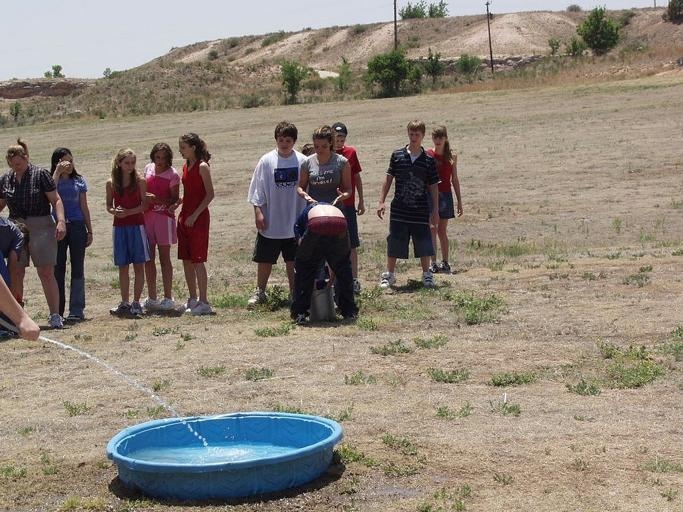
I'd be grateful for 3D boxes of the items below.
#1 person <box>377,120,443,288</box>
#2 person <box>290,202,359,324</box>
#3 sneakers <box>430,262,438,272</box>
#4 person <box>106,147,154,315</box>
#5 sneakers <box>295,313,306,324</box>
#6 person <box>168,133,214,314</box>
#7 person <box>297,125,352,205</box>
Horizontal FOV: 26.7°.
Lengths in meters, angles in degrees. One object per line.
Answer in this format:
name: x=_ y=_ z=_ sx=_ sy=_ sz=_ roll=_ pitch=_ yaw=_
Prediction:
person: x=1.228 y=-0.995 z=26.486 sx=1.120 sy=3.077 sz=0.964 roll=-4 pitch=6 yaw=11
person: x=-0.309 y=0.008 z=25.070 sx=1.148 sy=2.090 sz=1.267 roll=1 pitch=5 yaw=9
sneakers: x=1.747 y=0.187 z=27.597 sx=0.155 sy=0.168 sz=0.264 roll=-2 pitch=-3 yaw=7
person: x=-3.821 y=-0.443 z=25.697 sx=0.783 sy=3.025 sz=0.624 roll=1 pitch=8 yaw=43
sneakers: x=-0.724 y=1.075 z=24.998 sx=0.150 sy=0.089 sz=0.243 roll=1 pitch=5 yaw=-1
person: x=-2.618 y=-0.623 z=25.823 sx=0.739 sy=3.283 sz=0.847 roll=-5 pitch=6 yaw=-7
person: x=-0.335 y=-1.647 z=25.312 sx=0.906 sy=1.358 sz=0.409 roll=-5 pitch=6 yaw=-2
